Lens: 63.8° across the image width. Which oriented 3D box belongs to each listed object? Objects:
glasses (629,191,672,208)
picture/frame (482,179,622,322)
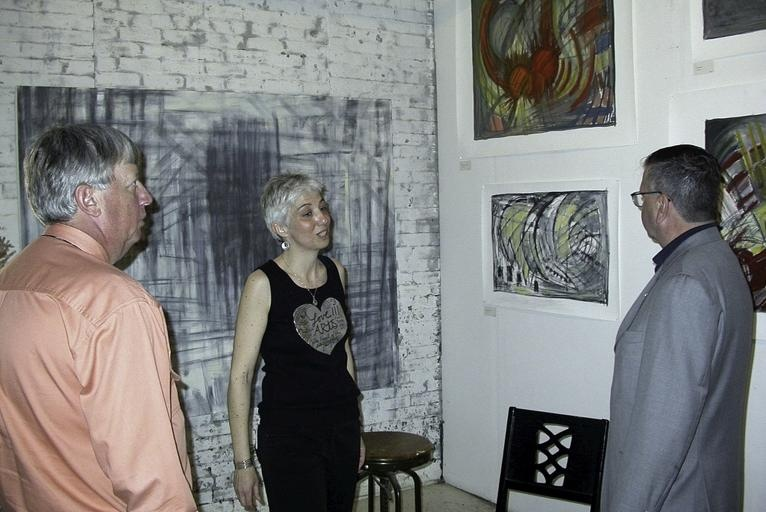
[{"bbox_3d":[1.306,-0.291,3.053,0.141,0.041,0.131,2,2,-41],"label":"glasses"},{"bbox_3d":[1.151,-0.040,4.068,0.064,0.843,0.943,-7,7,-44],"label":"picture/frame"}]
